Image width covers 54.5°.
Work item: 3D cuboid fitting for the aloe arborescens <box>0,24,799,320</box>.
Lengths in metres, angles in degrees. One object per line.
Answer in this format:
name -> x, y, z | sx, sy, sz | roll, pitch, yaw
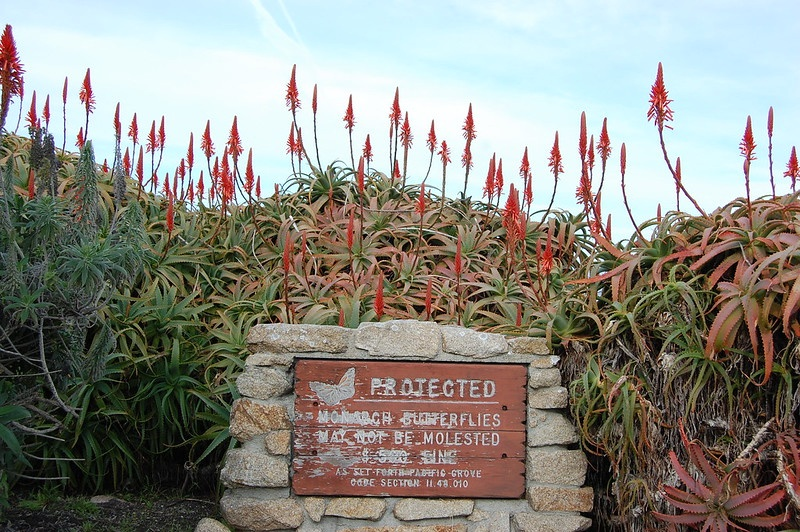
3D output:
aloe arborescens -> -0.472, -0.688, 6.619 | 4.231, 1.347, 3.399 | 1, -1, 6
